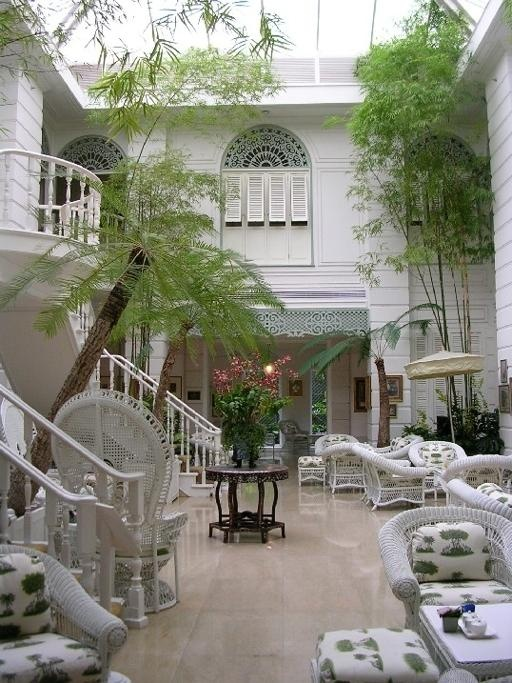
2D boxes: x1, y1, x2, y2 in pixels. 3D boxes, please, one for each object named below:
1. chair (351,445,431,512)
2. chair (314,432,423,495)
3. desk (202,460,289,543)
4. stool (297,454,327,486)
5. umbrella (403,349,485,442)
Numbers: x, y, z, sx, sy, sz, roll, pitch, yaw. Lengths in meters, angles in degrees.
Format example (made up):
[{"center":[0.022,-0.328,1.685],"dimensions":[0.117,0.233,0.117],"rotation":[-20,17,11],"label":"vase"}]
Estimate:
[{"center":[1.676,1.729,7.352],"dimensions":[0.847,0.721,0.857],"rotation":[-1,-3,-7],"label":"chair"},{"center":[1.615,1.878,9.132],"dimensions":[1.208,0.780,1.084],"rotation":[-2,-1,-16],"label":"chair"},{"center":[-0.080,1.607,5.929],"dimensions":[0.763,0.705,1.344],"rotation":[0,-8,1],"label":"desk"},{"center":[0.923,2.147,9.717],"dimensions":[0.420,0.405,0.650],"rotation":[0,-8,1],"label":"stool"},{"center":[3.065,0.937,9.473],"dimensions":[1.139,1.749,1.123],"rotation":[-5,-14,9],"label":"umbrella"}]
